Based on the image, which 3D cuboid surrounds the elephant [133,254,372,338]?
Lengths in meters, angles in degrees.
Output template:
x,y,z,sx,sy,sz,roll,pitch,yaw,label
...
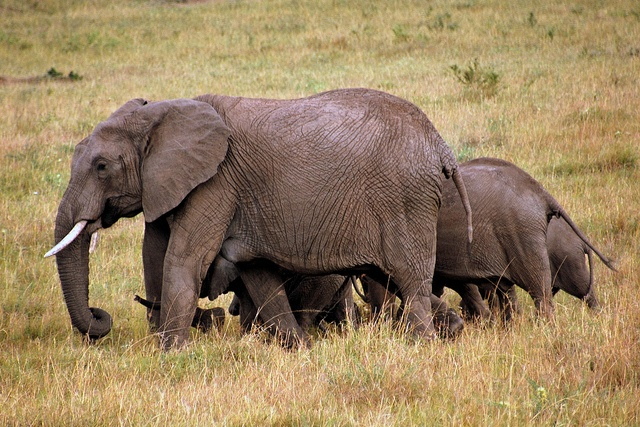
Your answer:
x,y,z,sx,sy,sz,roll,pitch,yaw,label
-0.937,1.258,15.003,3.161,1.795,1.403,1,-2,-5,elephant
